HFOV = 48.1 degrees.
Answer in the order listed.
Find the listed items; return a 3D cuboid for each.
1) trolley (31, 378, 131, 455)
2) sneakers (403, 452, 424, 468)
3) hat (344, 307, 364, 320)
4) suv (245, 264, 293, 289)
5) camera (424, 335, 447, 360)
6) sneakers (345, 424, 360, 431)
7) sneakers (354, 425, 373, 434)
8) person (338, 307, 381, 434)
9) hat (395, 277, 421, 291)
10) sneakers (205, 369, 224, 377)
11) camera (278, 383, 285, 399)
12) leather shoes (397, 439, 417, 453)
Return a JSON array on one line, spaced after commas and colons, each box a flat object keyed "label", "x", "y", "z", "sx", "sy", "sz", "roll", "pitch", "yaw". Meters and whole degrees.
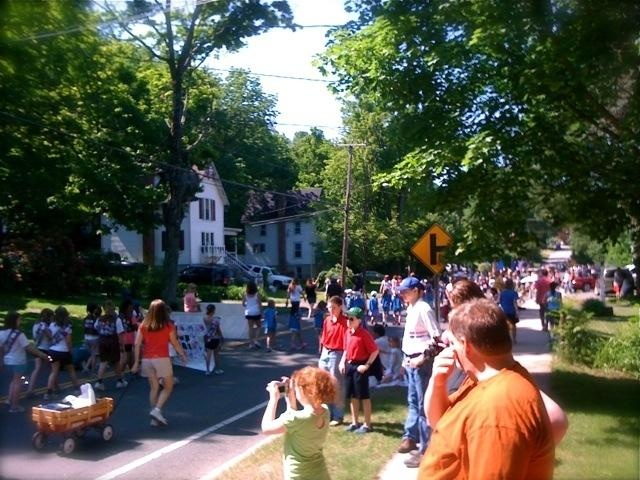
[{"label": "trolley", "x": -4.367, "y": 3.122, "z": 12.619, "sx": 0.798, "sy": 0.985, "sz": 1.233, "roll": 0, "pitch": -1, "yaw": 29}, {"label": "sneakers", "x": 1.502, "y": 3.469, "z": 11.490, "sx": 0.210, "sy": 0.286, "sz": 0.648, "roll": -9, "pitch": -15, "yaw": 26}, {"label": "hat", "x": 0.657, "y": 1.274, "z": 12.819, "sx": 0.238, "sy": 0.144, "sz": 0.177, "roll": 10, "pitch": -11, "yaw": -30}, {"label": "suv", "x": -3.531, "y": 2.592, "z": 51.296, "sx": 3.079, "sy": 1.450, "sz": 1.565, "roll": 2, "pitch": 2, "yaw": 26}, {"label": "camera", "x": 1.407, "y": 1.364, "z": 8.972, "sx": 0.268, "sy": 0.148, "sz": 0.521, "roll": -45, "pitch": -17, "yaw": -22}, {"label": "sneakers", "x": 0.601, "y": 3.328, "z": 12.891, "sx": 0.218, "sy": 0.105, "sz": 0.119, "roll": 0, "pitch": -2, "yaw": -14}, {"label": "sneakers", "x": 0.797, "y": 3.358, "z": 12.816, "sx": 0.231, "sy": 0.101, "sz": 0.133, "roll": 4, "pitch": -10, "yaw": -19}, {"label": "person", "x": 0.711, "y": 2.303, "z": 12.850, "sx": 0.651, "sy": 2.192, "sz": 0.496, "roll": -2, "pitch": -7, "yaw": 1}, {"label": "hat", "x": 1.482, "y": 0.698, "z": 11.768, "sx": 0.288, "sy": 0.179, "sz": 0.219, "roll": -3, "pitch": -5, "yaw": 2}, {"label": "sneakers", "x": -2.605, "y": 3.225, "z": 17.640, "sx": 0.423, "sy": 0.201, "sz": 0.153, "roll": -4, "pitch": 2, "yaw": 7}, {"label": "camera", "x": -0.517, "y": 1.993, "z": 9.625, "sx": 0.138, "sy": 0.142, "sz": 0.034, "roll": 6, "pitch": -4, "yaw": -34}, {"label": "leather shoes", "x": 1.458, "y": 3.409, "z": 11.892, "sx": 0.257, "sy": 0.289, "sz": 0.187, "roll": -1, "pitch": 1, "yaw": -15}]
